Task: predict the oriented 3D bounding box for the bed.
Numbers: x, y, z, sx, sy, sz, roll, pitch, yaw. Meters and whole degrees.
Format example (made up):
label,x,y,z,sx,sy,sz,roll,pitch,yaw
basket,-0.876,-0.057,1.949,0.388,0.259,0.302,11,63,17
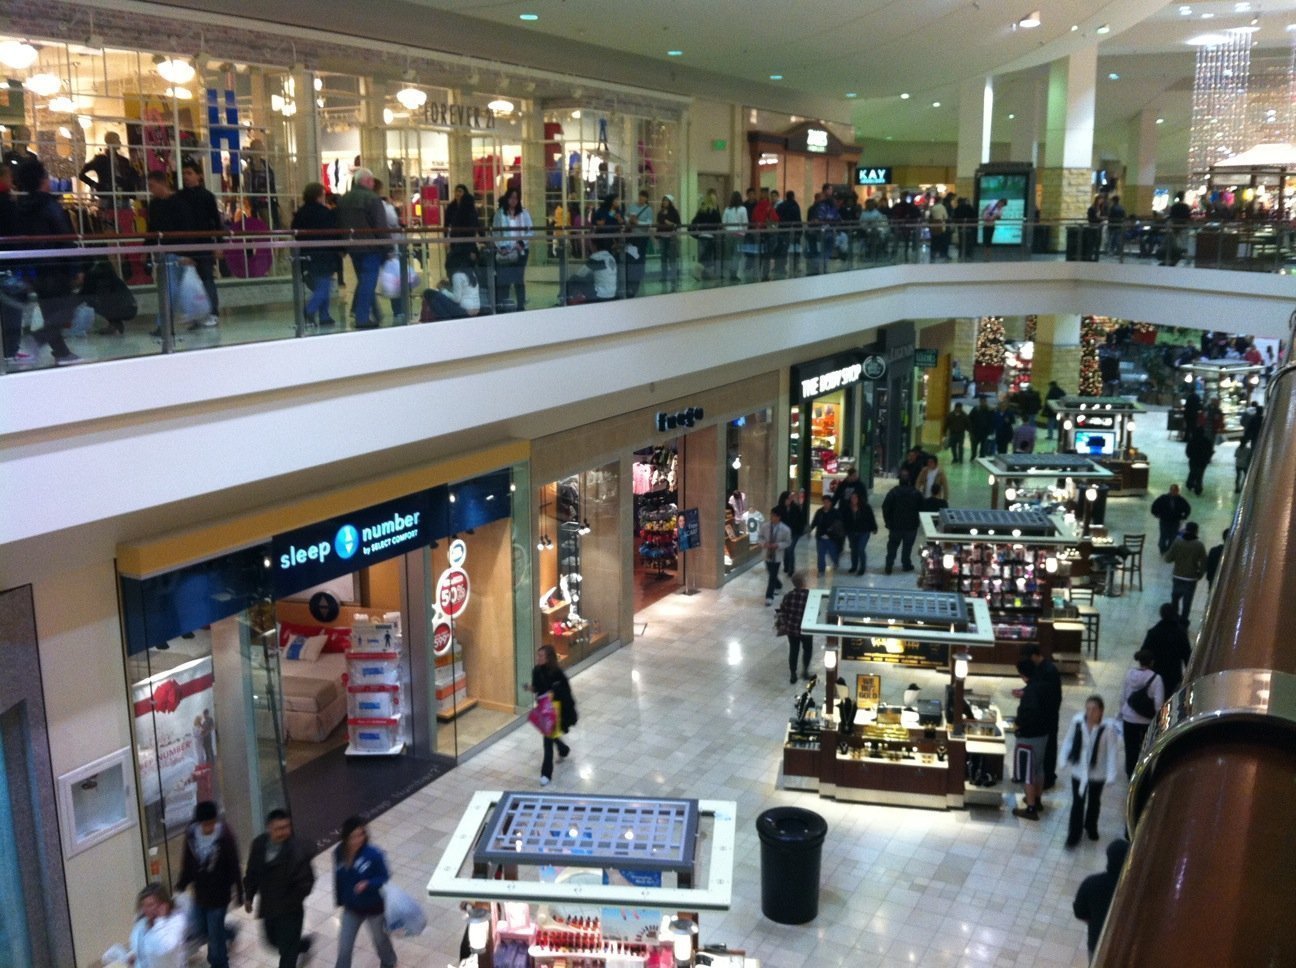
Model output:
label,x,y,z,sx,sy,sz,roll,pitch,yaw
bed,-4.690,2.683,13.025,1.515,2.045,1.808,3,5,25
